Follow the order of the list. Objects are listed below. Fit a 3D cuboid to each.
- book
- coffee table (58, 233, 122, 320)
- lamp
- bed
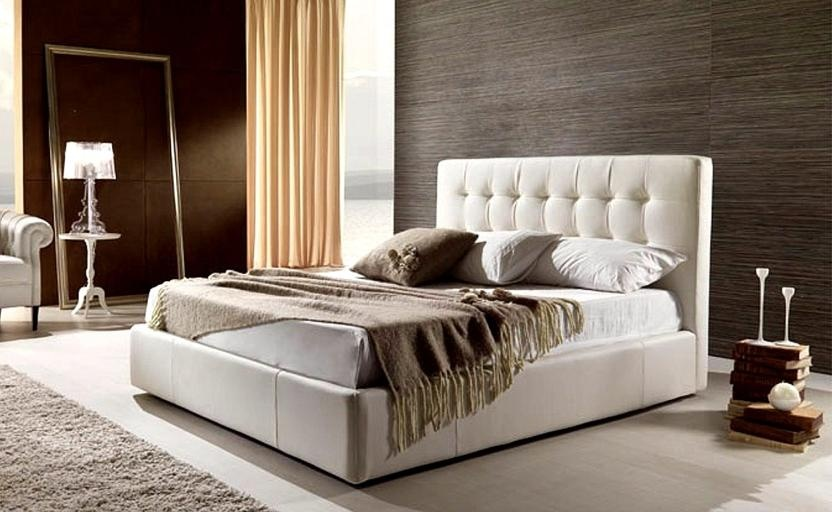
[{"bbox_3d":[1.984,0.770,3.286,0.513,0.534,0.679,1,0,40],"label":"book"},{"bbox_3d":[-3.363,0.155,5.889,0.484,0.800,0.942,-5,12,-31],"label":"coffee table"},{"bbox_3d":[-3.397,-0.720,5.943,0.462,0.944,0.644,-5,12,-29],"label":"lamp"},{"bbox_3d":[0.275,0.423,3.654,2.919,1.347,2.520,-2,4,-36],"label":"bed"}]
